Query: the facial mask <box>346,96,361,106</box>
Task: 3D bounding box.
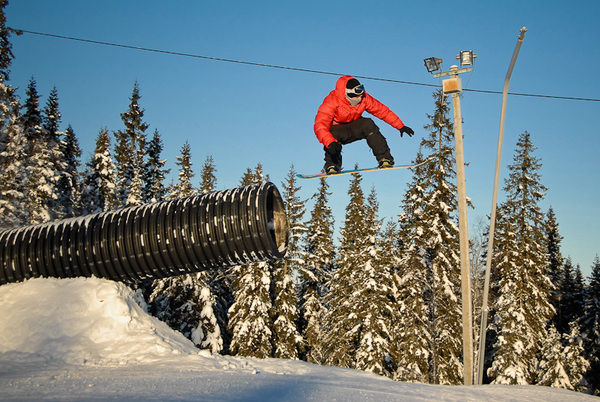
[{"bbox_3d":[2.435,-4.429,32.287,0.358,0.266,0.448,-16,17,-36],"label":"facial mask"}]
